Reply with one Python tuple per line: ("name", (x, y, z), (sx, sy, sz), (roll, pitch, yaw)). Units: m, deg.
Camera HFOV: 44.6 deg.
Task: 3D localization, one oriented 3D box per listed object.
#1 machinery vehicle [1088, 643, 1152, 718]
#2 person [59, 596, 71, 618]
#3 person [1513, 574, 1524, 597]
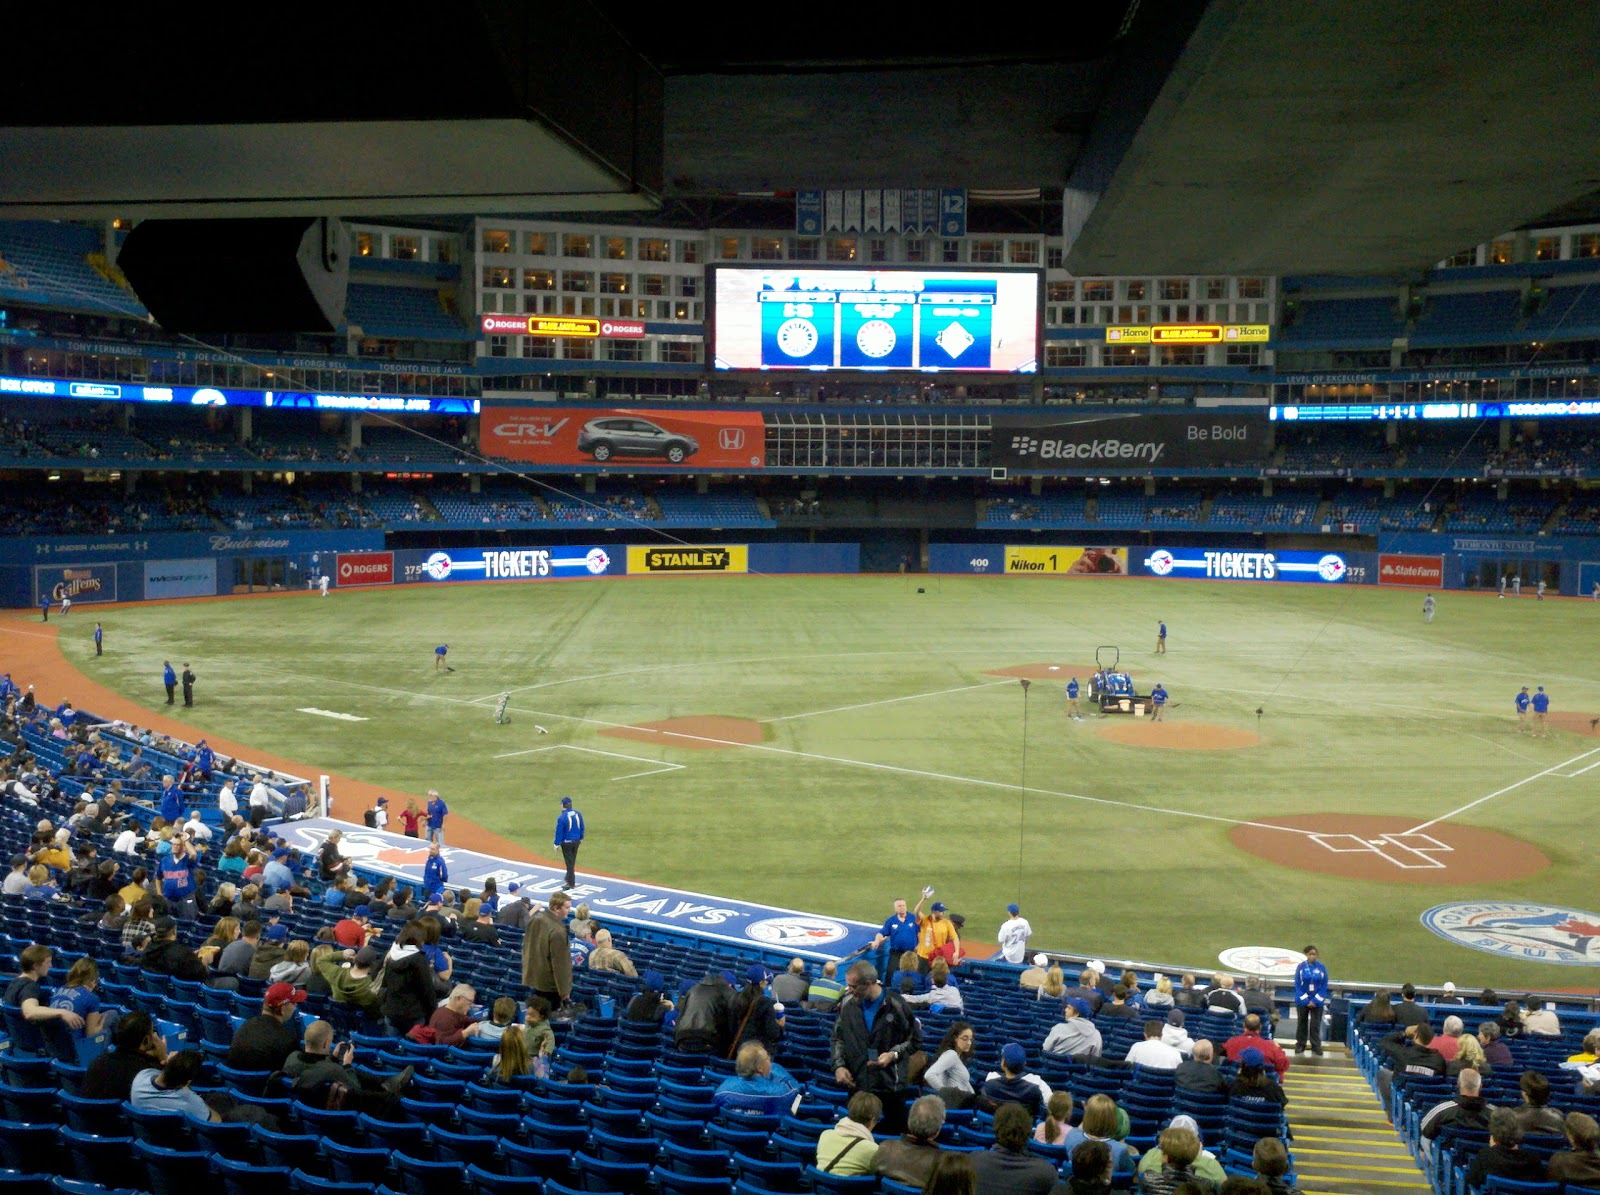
("machinery vehicle", (8.027, 2.414, 49.787), (1.309, 0.954, 2.302), (-1, 1, -2))
("person", (-27.818, 0.287, 73.569), (0.659, 0.550, 1.144), (2, 3, -18))
("person", (32.049, -0.697, 86.965), (0.384, 0.680, 0.972), (4, 7, 16))
